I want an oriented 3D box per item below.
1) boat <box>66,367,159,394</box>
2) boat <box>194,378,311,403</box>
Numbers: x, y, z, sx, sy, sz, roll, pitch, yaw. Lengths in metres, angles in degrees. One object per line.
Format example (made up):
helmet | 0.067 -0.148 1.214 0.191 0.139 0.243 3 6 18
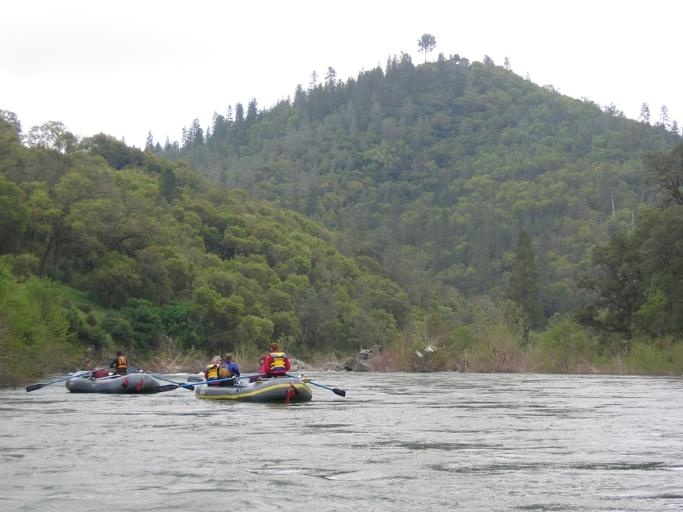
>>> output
boat | -13.407 7.413 59.840 5.220 1.459 1.972 -3 -7 15
boat | -5.210 7.438 56.209 7.175 1.389 2.098 -3 -7 19
